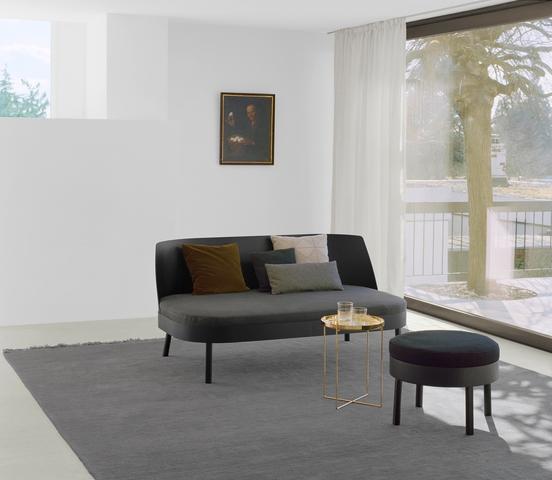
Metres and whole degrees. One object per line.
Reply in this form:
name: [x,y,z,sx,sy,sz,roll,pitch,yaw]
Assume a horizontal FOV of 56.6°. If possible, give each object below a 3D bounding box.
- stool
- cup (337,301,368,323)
stool: [0.896,0.653,2.725,0.494,0.419,0.508,-2,-3,41]
cup: [0.445,0.432,3.082,0.095,0.121,0.175,0,0,-4]
